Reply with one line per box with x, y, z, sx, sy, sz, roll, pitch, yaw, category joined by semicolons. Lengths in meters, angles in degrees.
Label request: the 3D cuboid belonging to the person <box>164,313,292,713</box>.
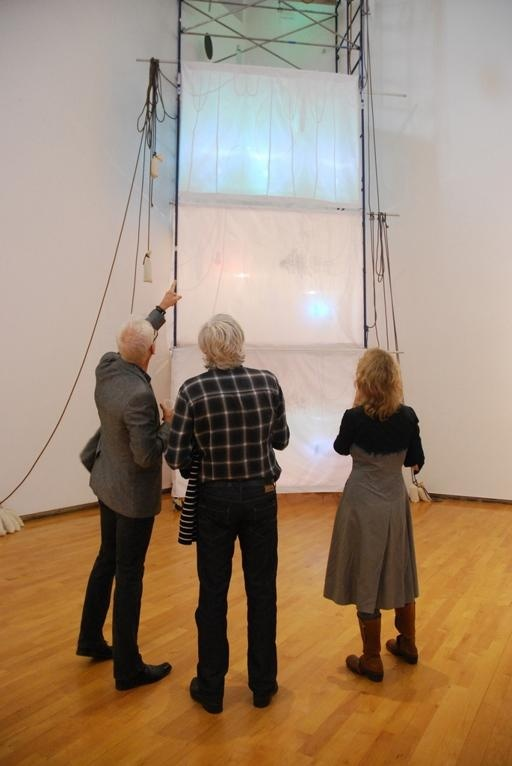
-0.083;0.427;1.912;0.424;1.291;0.264;1;-2;-10;person

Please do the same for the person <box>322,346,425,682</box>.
0.473;0.484;2.216;0.411;1.224;0.308;1;-2;-34;person

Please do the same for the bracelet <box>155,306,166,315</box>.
-0.385;-0.300;2.354;0.039;0.024;0.039;36;-7;-22;bracelet
